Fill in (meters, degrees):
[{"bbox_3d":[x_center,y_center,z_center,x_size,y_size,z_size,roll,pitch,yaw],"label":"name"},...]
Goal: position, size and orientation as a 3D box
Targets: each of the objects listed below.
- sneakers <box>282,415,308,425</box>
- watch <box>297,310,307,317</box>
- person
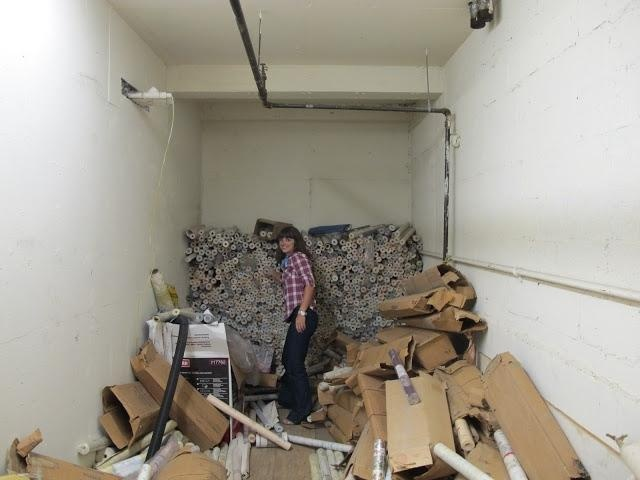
[{"bbox_3d":[-0.225,1.593,3.997,0.215,0.066,0.086,4,-14,0],"label":"sneakers"},{"bbox_3d":[-0.170,0.670,4.119,0.062,0.050,0.072,1,-14,23],"label":"watch"},{"bbox_3d":[-0.289,0.817,4.419,0.617,2.159,0.873,1,-25,-2],"label":"person"}]
